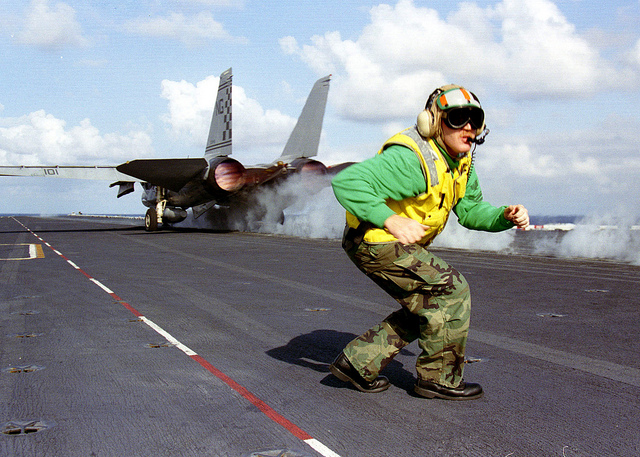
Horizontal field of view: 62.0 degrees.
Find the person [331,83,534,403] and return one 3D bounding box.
[{"bbox_3d":[0.834,0.139,4.552,1.383,2.720,1.369,2,7,16],"label":"person"}]

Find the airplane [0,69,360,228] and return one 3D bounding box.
[{"bbox_3d":[-6.479,-4.065,27.709,12.260,8.554,8.166,4,7,40],"label":"airplane"}]
